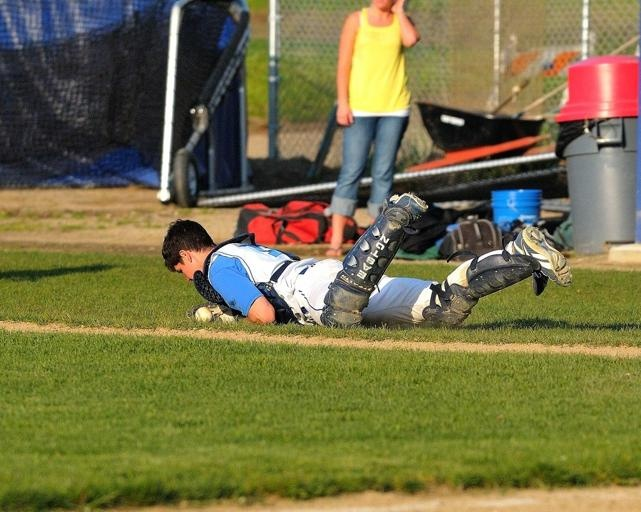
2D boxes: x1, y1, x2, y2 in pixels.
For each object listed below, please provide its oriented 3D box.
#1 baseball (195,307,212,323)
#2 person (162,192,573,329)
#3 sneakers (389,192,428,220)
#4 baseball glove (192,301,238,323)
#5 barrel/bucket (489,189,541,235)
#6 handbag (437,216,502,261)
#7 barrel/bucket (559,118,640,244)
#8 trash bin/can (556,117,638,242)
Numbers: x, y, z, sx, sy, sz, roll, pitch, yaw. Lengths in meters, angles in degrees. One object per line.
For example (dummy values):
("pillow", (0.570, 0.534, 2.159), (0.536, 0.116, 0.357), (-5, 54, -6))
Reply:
("baseball", (-0.796, 0.404, 10.517), (0.103, 0.070, 0.093), (1, 8, -3))
("person", (0.239, 0.149, 10.199), (2.651, 0.880, 1.077), (-6, -6, 25))
("sneakers", (0.555, -0.334, 9.867), (0.201, 0.132, 0.156), (25, 14, -38))
("baseball glove", (-0.714, 0.389, 10.545), (0.230, 0.097, 0.138), (0, -3, 16))
("barrel/bucket", (1.879, -0.413, 14.838), (0.401, 0.435, 0.411), (-1, 5, 0))
("handbag", (1.315, -0.220, 13.812), (0.432, 0.239, 0.593), (-8, 13, 14))
("barrel/bucket", (2.448, -0.603, 13.598), (0.673, 1.213, 0.331), (4, 7, 19))
("trash bin/can", (2.266, -0.639, 13.641), (0.904, 1.237, 0.959), (-1, 3, 22))
